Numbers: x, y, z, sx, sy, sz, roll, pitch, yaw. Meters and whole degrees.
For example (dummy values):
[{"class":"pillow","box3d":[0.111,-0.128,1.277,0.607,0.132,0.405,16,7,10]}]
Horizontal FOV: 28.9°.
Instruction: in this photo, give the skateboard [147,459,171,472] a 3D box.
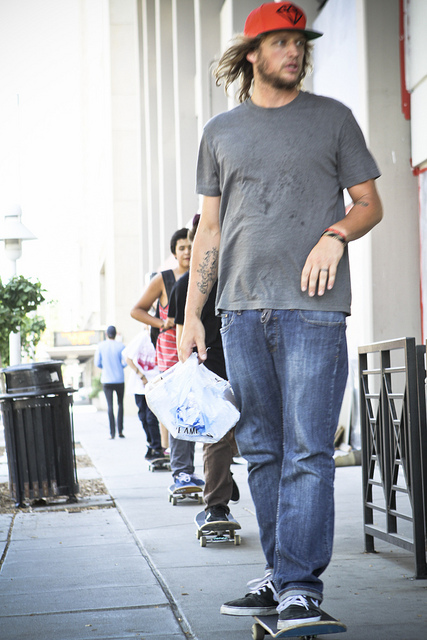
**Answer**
[{"class":"skateboard","box3d":[-0.540,1.441,8.287,0.208,0.122,0.434,-4,3,-7]}]

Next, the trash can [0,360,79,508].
[{"class":"trash can","box3d":[-1.245,0.807,5.938,0.525,0.996,0.342,-4,4,-14]}]

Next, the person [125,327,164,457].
[{"class":"person","box3d":[-0.765,0.821,9.090,0.331,1.421,1.342,-4,4,-6]}]

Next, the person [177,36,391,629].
[{"class":"person","box3d":[0.239,0.048,2.726,0.605,2.025,0.848,-5,5,-21]}]
